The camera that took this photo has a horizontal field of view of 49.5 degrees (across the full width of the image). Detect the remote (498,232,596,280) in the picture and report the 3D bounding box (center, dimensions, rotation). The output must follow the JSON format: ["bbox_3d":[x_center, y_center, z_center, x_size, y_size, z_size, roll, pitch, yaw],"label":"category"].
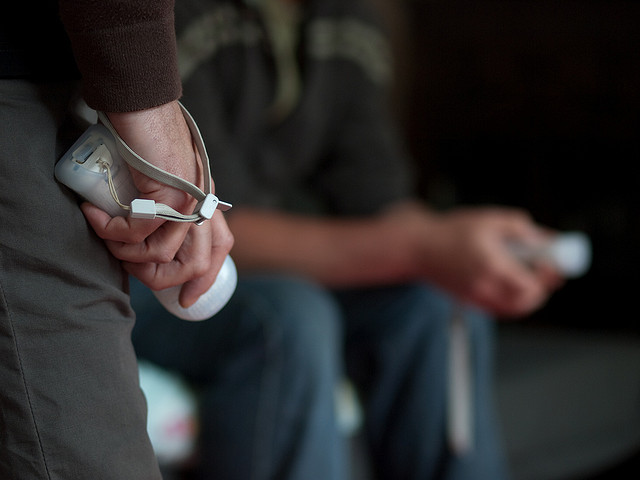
[{"bbox_3d":[0.397,0.027,1.204,0.152,0.087,0.064,0,10,-6],"label":"remote"}]

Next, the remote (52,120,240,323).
[{"bbox_3d":[-0.234,-0.006,0.865,0.073,0.280,0.138,-5,48,44],"label":"remote"}]
